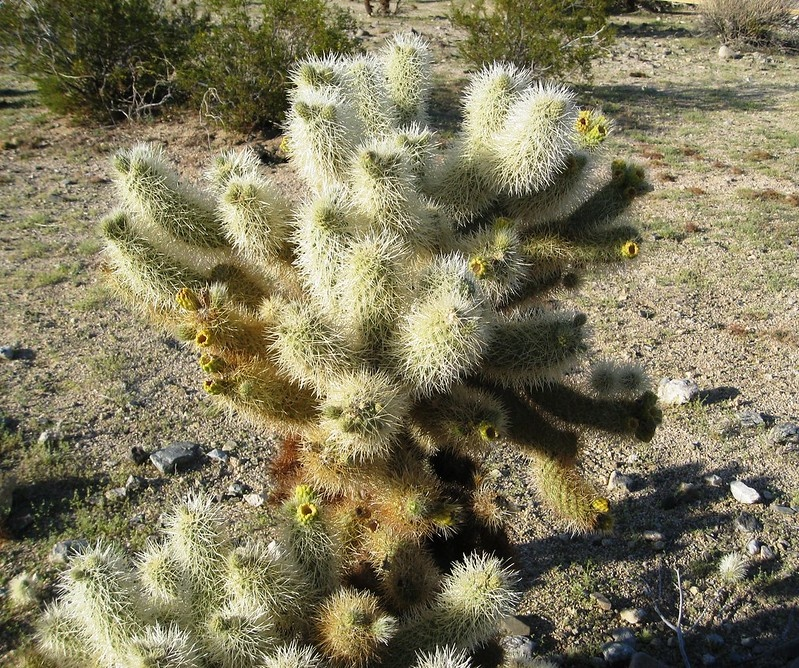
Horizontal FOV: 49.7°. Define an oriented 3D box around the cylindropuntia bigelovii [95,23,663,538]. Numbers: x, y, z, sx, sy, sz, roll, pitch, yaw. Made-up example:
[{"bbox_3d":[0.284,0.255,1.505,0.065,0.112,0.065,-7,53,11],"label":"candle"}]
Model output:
[{"bbox_3d":[0.077,-0.199,6.875,3.230,2.494,3.636,7,50,7],"label":"cylindropuntia bigelovii"}]
